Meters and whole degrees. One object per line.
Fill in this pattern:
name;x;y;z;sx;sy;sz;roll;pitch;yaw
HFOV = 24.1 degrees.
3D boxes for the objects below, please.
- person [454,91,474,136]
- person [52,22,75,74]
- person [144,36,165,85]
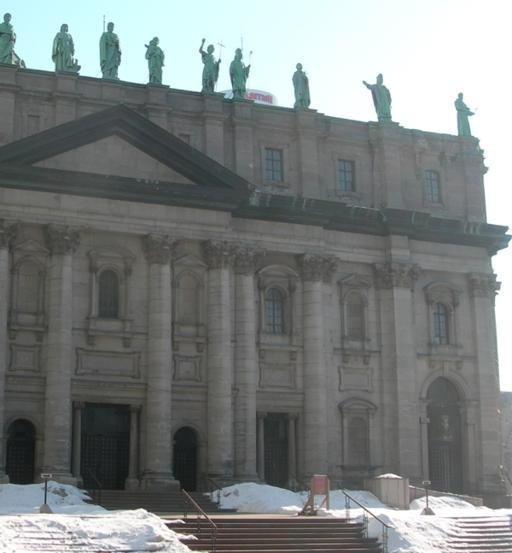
person;11.157;-8.903;65.131;0.754;2.573;1.333;-4;-14;10
person;-9.116;-10.791;56.529;1.010;2.607;1.036;1;-14;-10
person;-4.980;-10.555;58.348;0.813;2.351;0.479;0;-14;-5
